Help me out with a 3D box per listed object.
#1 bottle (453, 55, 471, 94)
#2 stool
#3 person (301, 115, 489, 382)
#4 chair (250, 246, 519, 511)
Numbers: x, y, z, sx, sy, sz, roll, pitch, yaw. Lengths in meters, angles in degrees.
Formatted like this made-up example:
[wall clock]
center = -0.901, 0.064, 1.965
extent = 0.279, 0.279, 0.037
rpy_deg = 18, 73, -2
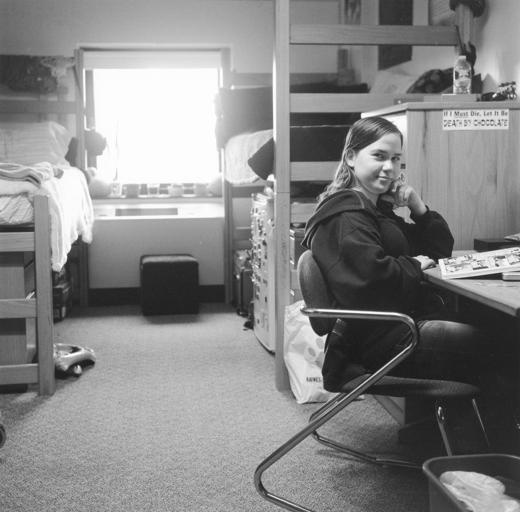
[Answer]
[bottle]
center = 0.883, -0.792, 2.330
extent = 0.063, 0.188, 0.167
rpy_deg = 1, 5, 25
[stool]
center = -0.709, 0.195, 4.200
extent = 0.399, 0.473, 0.437
rpy_deg = -1, 2, -6
[person]
center = 0.382, 0.033, 1.545
extent = 0.471, 0.904, 0.363
rpy_deg = -5, -10, 39
[chair]
center = 0.307, 0.309, 1.724
extent = 0.743, 1.050, 0.634
rpy_deg = 0, -3, 14
